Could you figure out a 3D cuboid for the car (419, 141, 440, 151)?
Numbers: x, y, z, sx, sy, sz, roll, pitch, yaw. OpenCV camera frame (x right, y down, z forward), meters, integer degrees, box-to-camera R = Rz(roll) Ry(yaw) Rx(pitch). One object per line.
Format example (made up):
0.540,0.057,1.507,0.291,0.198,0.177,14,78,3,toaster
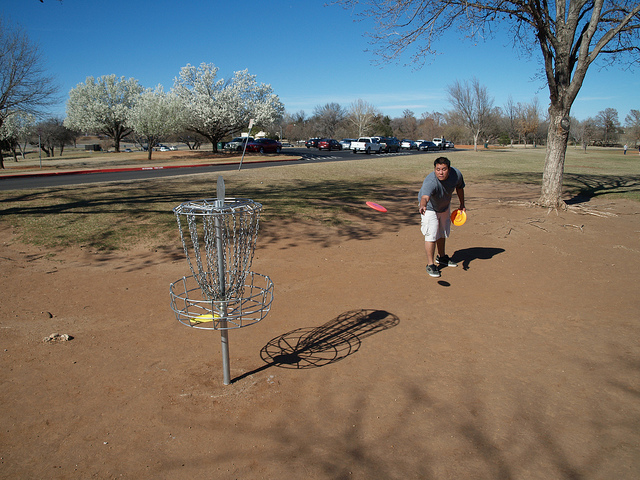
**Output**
15.408,-13.110,65.372,1.934,1.147,4.000,9,17,44,car

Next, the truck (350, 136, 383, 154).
4.953,-9.928,49.296,2.036,1.646,3.308,7,15,36,truck

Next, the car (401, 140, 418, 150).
12.613,-13.319,66.019,1.393,1.081,3.155,7,22,28,car

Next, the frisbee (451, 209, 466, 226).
2.452,-0.386,8.301,0.234,0.266,0.290,2,13,20,frisbee

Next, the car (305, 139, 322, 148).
-0.719,-11.891,57.921,0.941,0.678,2.029,3,20,17,car

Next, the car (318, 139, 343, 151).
1.259,-10.807,53.686,1.276,0.961,2.859,12,22,38,car

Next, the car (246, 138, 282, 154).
-5.326,-9.231,46.970,3.564,1.291,1.636,-2,16,-21,car
